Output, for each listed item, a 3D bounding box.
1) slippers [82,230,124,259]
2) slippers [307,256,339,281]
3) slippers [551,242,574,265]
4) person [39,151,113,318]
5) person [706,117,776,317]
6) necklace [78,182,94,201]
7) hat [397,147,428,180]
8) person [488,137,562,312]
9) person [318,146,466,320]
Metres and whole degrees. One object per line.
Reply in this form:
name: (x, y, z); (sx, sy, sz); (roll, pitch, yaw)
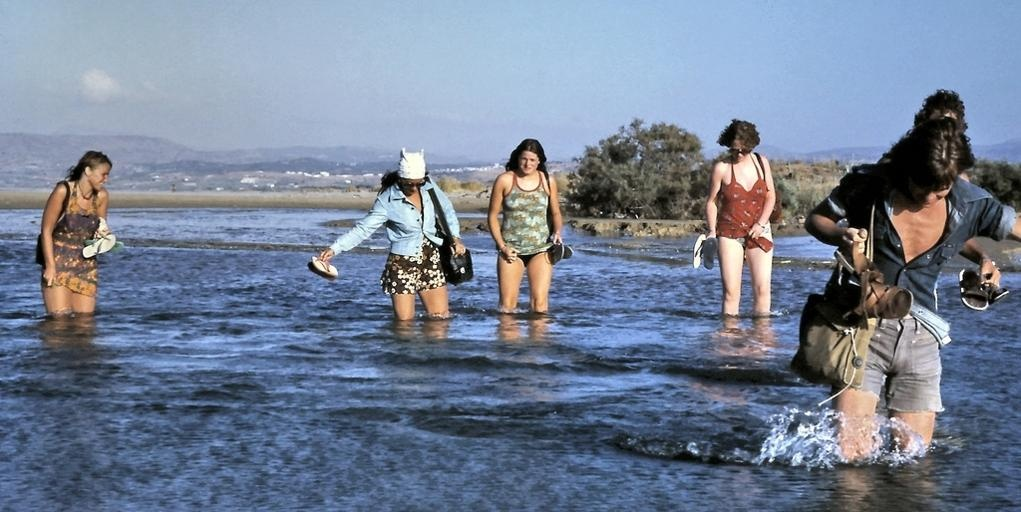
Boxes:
slippers: (-5.942, -0.178, 14.966); (0.753, 0.228, 0.299); (-8, 18, -33)
slippers: (-2.461, 0.155, 13.169); (0.319, 0.267, 0.231); (-1, 6, -16)
slippers: (0.746, -0.055, 14.994); (0.287, 0.304, 0.335); (1, 5, 2)
person: (-6.367, -0.308, 14.734); (0.901, 2.424, 0.426); (-1, 6, -19)
person: (3.448, -0.540, 14.991); (0.997, 2.965, 1.154); (3, 6, 12)
necklace: (-6.214, -0.969, 14.742); (0.280, 0.284, 0.193); (0, 6, -11)
hat: (-1.369, -1.278, 14.082); (0.377, 0.382, 0.432); (1, 5, -4)
person: (0.230, -0.409, 15.026); (1.076, 2.644, 1.266); (1, 6, 0)
person: (-1.418, -0.256, 14.303); (1.542, 2.448, 0.671); (-3, 7, -39)
